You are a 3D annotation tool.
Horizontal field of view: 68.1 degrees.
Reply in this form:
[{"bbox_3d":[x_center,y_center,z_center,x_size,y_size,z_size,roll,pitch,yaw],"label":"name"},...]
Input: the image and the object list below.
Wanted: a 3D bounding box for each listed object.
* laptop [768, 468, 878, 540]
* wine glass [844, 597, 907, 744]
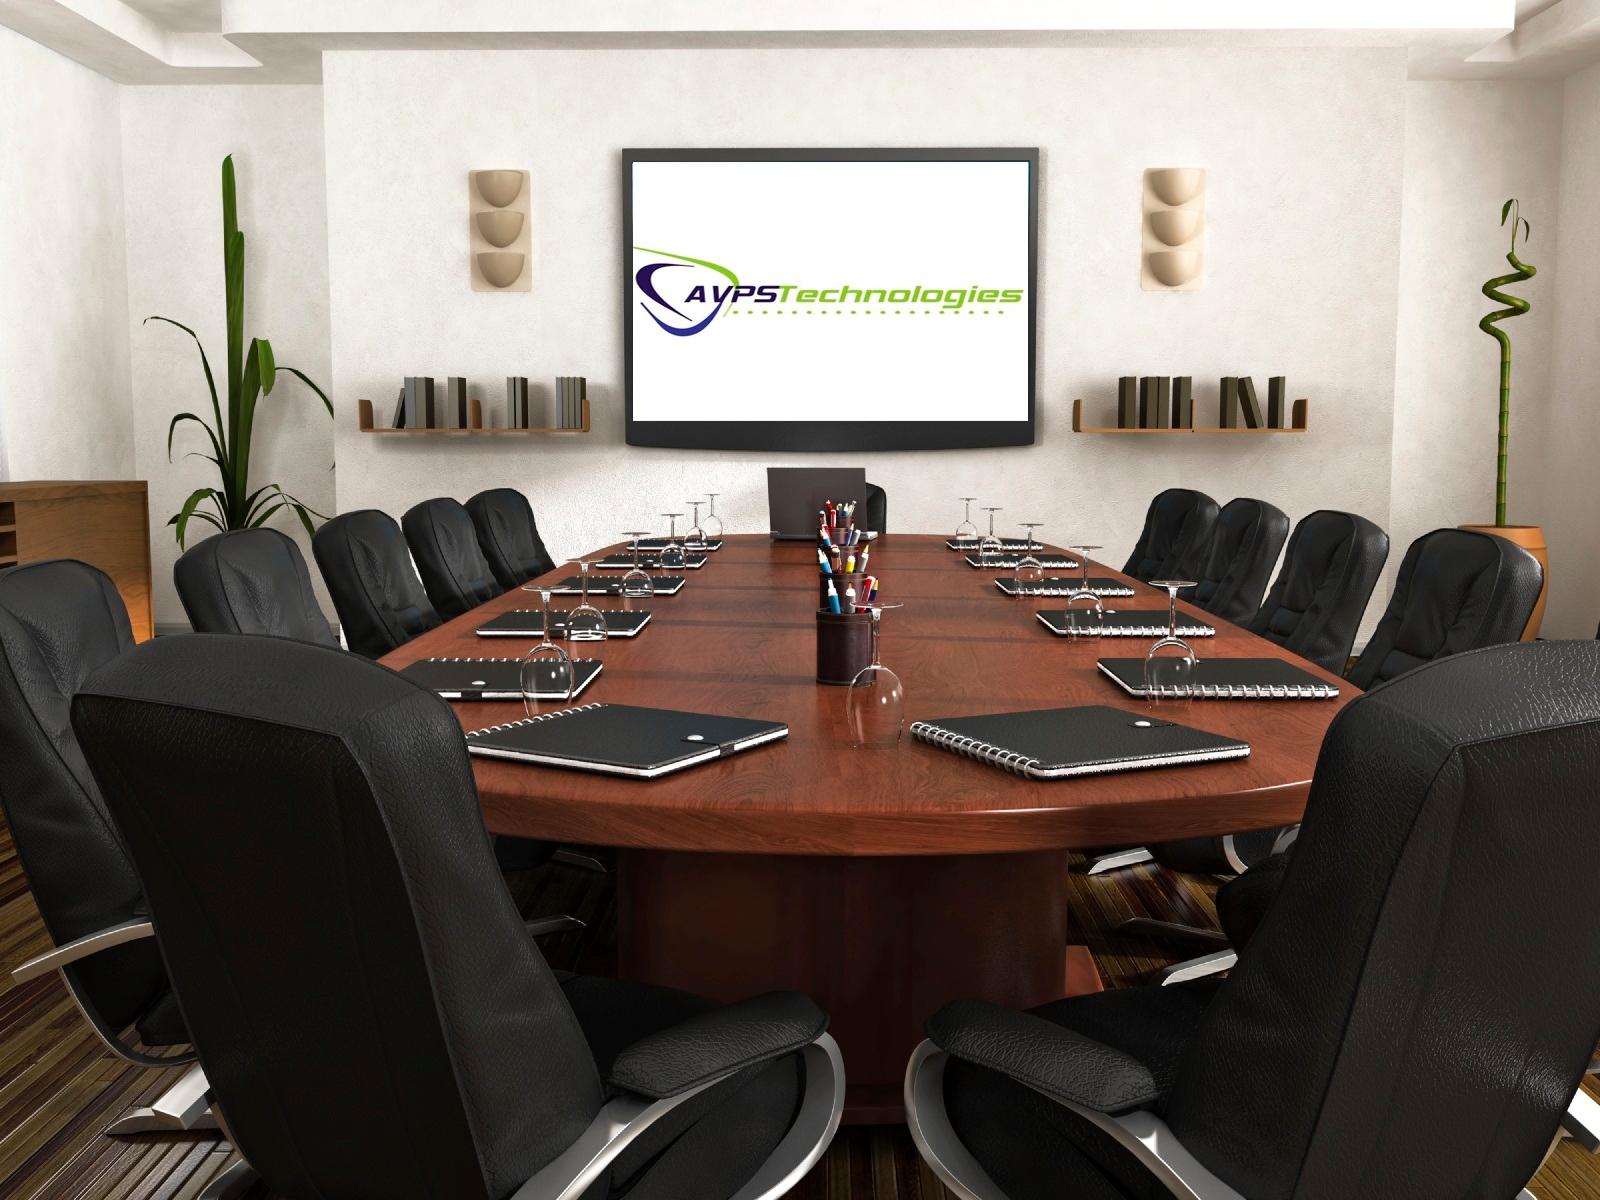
[{"bbox_3d":[0.087,-0.468,5.519,0.495,0.351,0.371,1,4,8],"label":"laptop"},{"bbox_3d":[0.136,0.145,2.239,0.178,0.257,0.064,0,3,3],"label":"wine glass"}]
